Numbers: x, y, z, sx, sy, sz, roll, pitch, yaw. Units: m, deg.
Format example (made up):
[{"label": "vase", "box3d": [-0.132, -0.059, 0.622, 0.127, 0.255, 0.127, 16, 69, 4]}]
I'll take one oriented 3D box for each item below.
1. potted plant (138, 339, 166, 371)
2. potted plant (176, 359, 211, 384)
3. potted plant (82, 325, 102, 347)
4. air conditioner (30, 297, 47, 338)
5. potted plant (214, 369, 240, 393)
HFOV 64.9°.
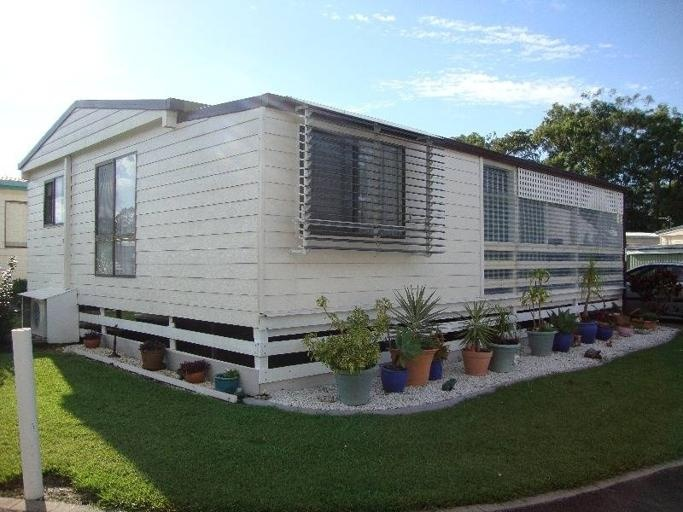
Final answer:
[{"label": "potted plant", "box3d": [-2.838, 1.456, 8.077, 0.416, 0.419, 0.412, -1, 1, -24]}, {"label": "potted plant", "box3d": [-2.015, 1.560, 7.345, 0.329, 0.227, 0.322, -5, -8, 26]}, {"label": "potted plant", "box3d": [-4.360, 1.406, 9.510, 0.361, 0.428, 0.357, 4, -3, -20]}, {"label": "air conditioner", "box3d": [-5.553, 1.114, 9.840, 0.251, 0.662, 0.776, 3, -6, -38]}, {"label": "potted plant", "box3d": [-1.486, 1.594, 6.943, 0.288, 0.247, 0.265, 1, -2, -39]}]
